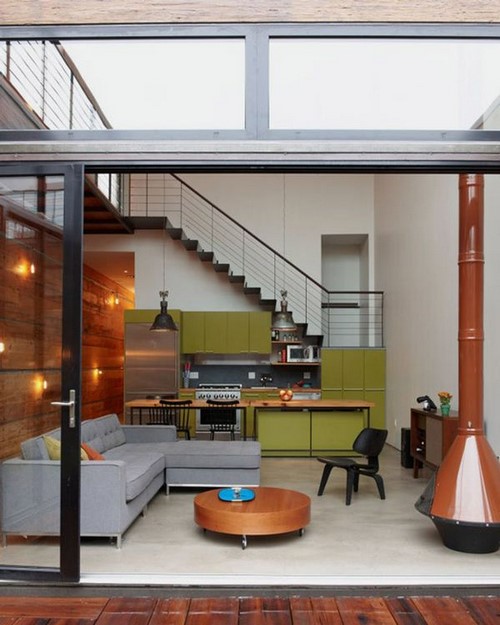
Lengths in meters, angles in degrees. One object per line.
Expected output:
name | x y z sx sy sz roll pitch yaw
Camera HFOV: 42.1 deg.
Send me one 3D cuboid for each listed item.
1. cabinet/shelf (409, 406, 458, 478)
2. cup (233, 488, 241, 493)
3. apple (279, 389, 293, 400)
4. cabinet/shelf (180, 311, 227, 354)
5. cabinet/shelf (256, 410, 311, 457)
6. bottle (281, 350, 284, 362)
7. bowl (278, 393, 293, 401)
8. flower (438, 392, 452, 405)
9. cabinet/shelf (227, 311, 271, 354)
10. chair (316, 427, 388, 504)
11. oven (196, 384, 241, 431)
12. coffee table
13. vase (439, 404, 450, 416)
cabinet/shelf | 1.655 1.136 5.802 0.231 0.728 0.822 1 -1 3
cup | -0.094 1.316 4.812 0.030 0.023 0.031 0 -2 0
apple | 0.437 1.009 7.929 0.137 0.109 0.130 -3 -2 12
cabinet/shelf | -0.679 0.281 9.799 0.879 0.919 0.497 1 -1 0
cabinet/shelf | 0.412 1.383 7.885 0.542 0.542 0.574 0 -1 3
bottle | 0.492 0.644 9.613 0.050 0.158 0.158 0 -2 2
bowl | 0.427 1.024 7.927 0.109 0.091 0.121 -1 -3 -43
flower | 1.827 0.779 5.961 0.147 0.112 0.151 0 -3 -21
cabinet/shelf | -0.014 0.293 9.563 0.632 0.566 0.152 -1 -12 1
chair | 0.908 1.327 5.990 0.700 0.887 0.598 5 -7 -39
oven | -0.461 1.330 9.264 0.520 0.678 0.723 1 -1 -15
coffee table | 0.022 1.447 4.591 0.829 0.351 0.761 2 -12 -12
vase | 1.773 0.886 5.878 0.090 0.095 0.090 0 -2 -1
